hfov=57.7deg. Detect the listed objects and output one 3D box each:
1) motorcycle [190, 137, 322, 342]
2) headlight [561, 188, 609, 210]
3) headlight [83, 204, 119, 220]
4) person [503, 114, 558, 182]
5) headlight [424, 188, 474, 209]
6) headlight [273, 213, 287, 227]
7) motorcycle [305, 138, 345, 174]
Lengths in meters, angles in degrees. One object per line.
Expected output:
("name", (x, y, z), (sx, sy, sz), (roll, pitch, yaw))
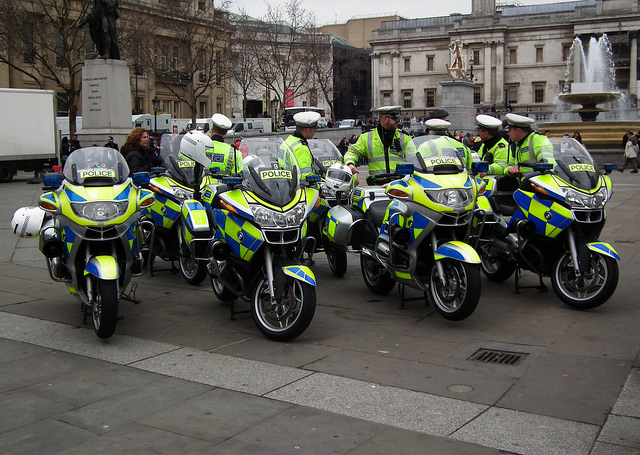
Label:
("motorcycle", (-0.589, 0.146, 6.758), (1.536, 2.204, 0.805), (7, 13, 38))
("headlight", (3.474, -0.372, 7.511), (0.596, 0.248, 0.267), (-3, 10, -12))
("headlight", (-2.440, -0.181, 6.408), (0.222, 0.204, 0.079), (-3, -4, -10))
("person", (3.050, -1.110, 8.705), (0.573, 0.889, 1.702), (15, 31, 5))
("headlight", (1.552, -0.356, 6.966), (0.578, 0.231, 0.211), (0, 10, 5))
("headlight", (-0.430, -0.072, 6.390), (0.110, 0.154, 0.050), (-19, -9, -8))
("motorcycle", (0.091, -1.283, 10.176), (0.490, 0.412, 0.792), (-3, 5, -12))
